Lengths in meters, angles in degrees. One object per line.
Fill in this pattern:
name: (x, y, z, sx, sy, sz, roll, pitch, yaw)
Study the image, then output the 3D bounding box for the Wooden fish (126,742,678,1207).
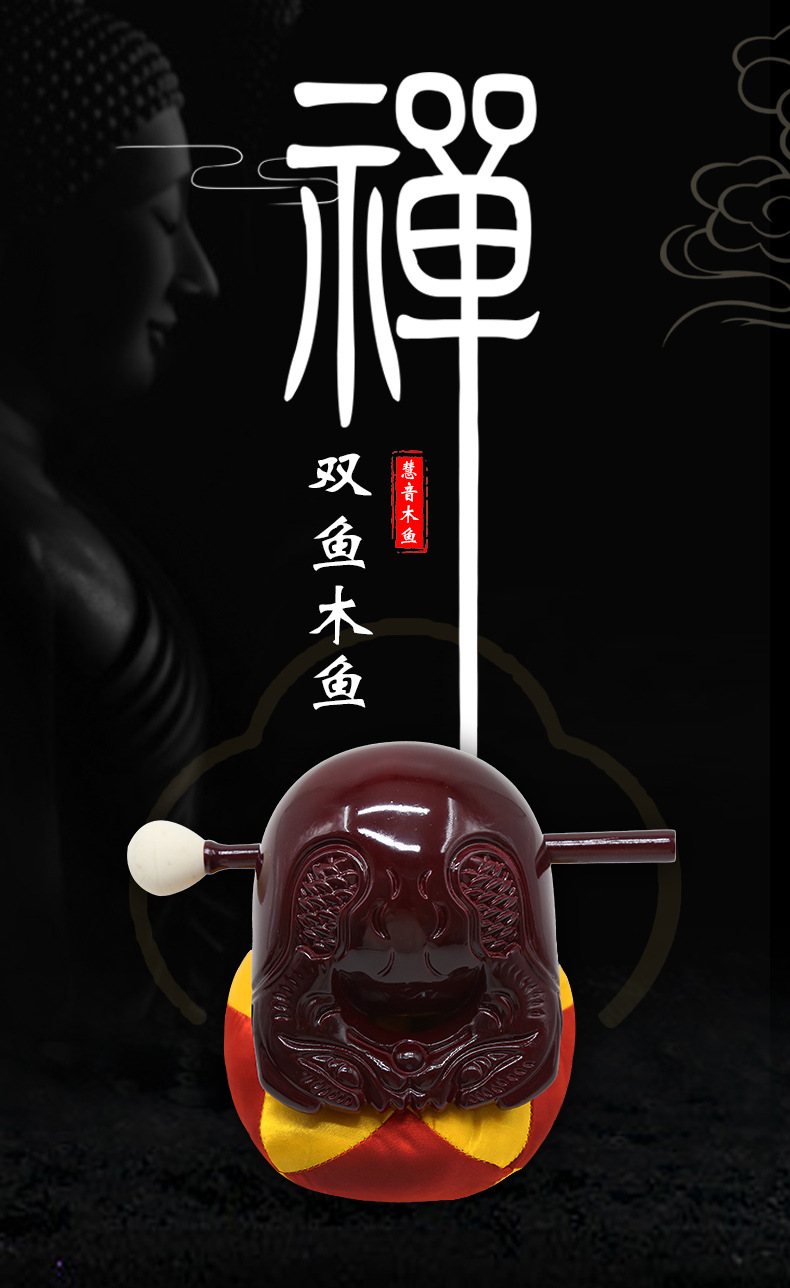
Wooden fish: (0.009, 0.421, 1.576, 0.629, 0.334, 0.547, 0, 91, 0)
